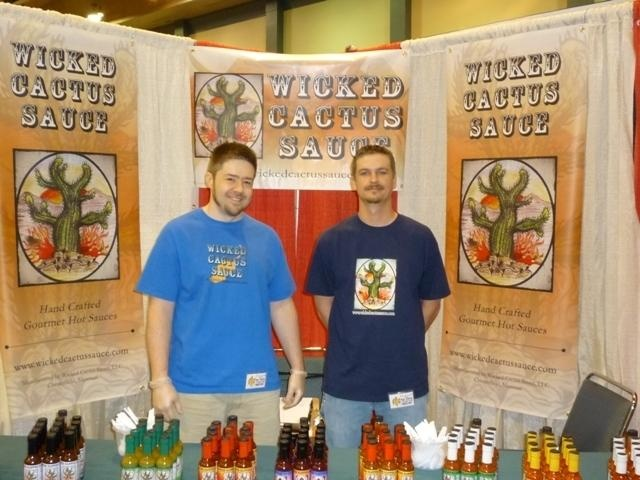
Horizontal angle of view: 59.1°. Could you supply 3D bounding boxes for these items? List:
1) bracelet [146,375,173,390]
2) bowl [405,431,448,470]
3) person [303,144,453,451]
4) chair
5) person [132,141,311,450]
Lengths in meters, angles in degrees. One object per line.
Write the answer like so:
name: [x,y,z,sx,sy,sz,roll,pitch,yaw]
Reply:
bracelet: [-0.769,0.685,2.705,0.106,0.067,0.100,0,4,-17]
bowl: [0.446,0.886,2.377,0.126,0.119,0.134,3,-12,1]
person: [0.287,0.305,3.060,0.756,1.627,0.356,3,5,15]
chair: [1.482,0.905,2.986,0.320,0.533,0.273,16,3,-36]
person: [-0.487,0.269,2.819,0.821,1.502,0.295,0,5,-20]
